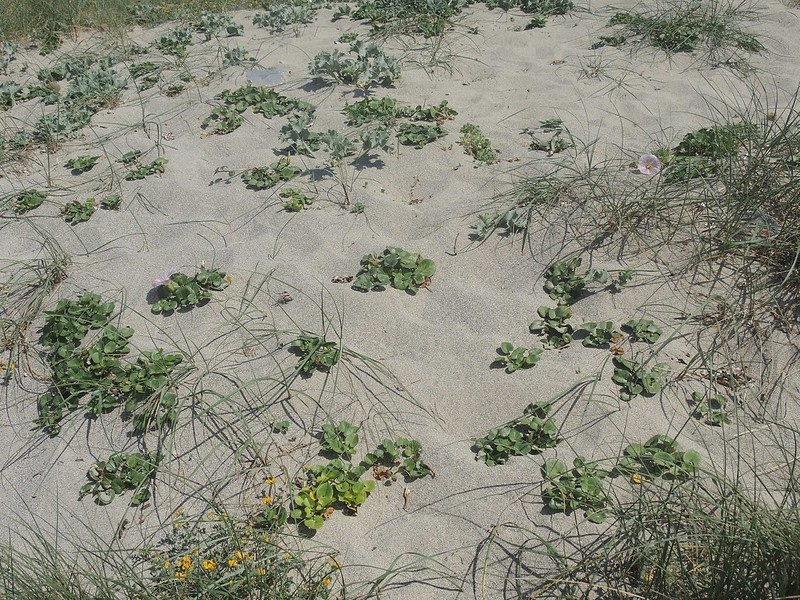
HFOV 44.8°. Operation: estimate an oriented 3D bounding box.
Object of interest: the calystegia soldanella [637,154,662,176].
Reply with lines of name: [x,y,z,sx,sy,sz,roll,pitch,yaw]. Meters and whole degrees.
calystegia soldanella: [2.142,-1.132,8.298,0.201,0.168,0.176,10,43,14]
